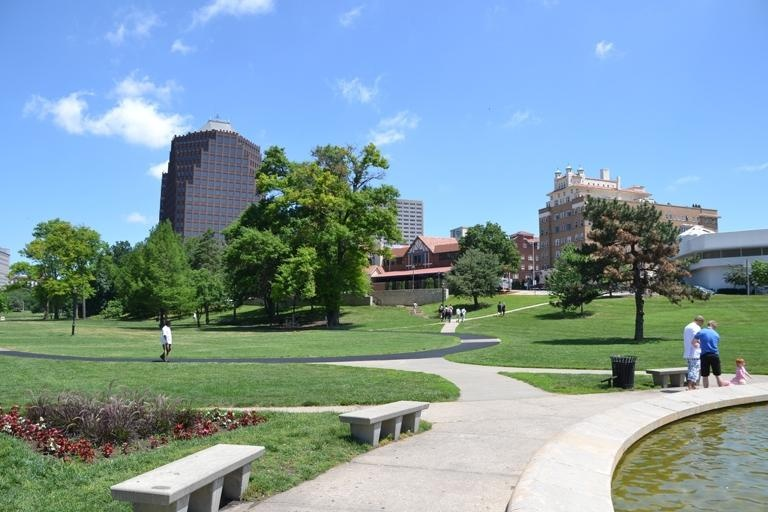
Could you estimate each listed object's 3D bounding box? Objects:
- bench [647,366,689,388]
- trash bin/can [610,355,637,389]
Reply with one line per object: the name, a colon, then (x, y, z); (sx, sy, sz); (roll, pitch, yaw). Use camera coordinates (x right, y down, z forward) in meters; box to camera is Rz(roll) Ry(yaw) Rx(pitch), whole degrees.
bench: (10.181, 4.343, 24.870); (1.742, 0.614, 0.997); (3, -6, -37)
trash bin/can: (8.655, 4.143, 24.729); (1.116, 1.165, 1.011); (1, -9, -6)
